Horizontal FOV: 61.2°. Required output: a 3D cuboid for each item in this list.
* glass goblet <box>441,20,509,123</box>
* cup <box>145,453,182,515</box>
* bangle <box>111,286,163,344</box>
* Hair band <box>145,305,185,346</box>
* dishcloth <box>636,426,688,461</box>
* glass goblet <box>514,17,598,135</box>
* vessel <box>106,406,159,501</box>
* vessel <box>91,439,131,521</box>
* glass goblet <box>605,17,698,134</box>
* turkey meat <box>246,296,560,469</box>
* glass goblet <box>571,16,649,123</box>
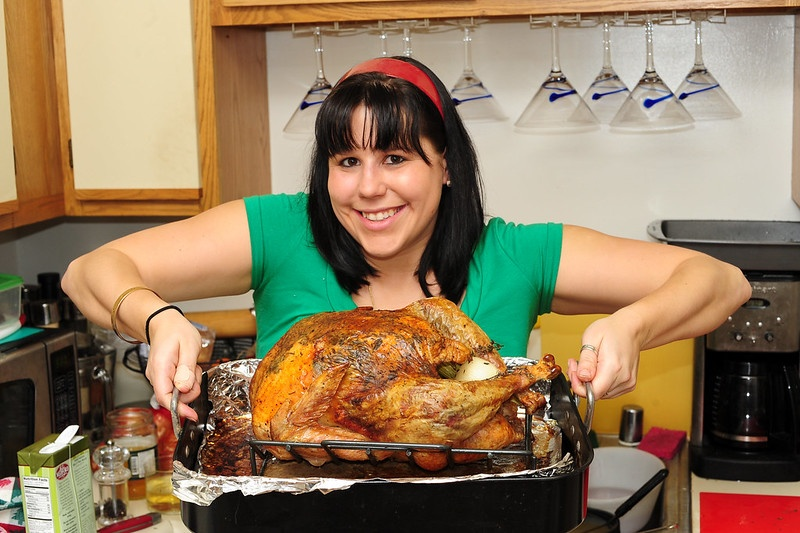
[{"bbox_3d":[0.247,-0.750,2.668,0.383,0.429,0.379,-3,19,0],"label":"glass goblet"},{"bbox_3d":[-0.731,0.691,2.116,0.130,0.141,0.123,5,-1,0],"label":"cup"},{"bbox_3d":[-0.646,0.130,1.632,0.039,0.148,0.148,21,9,41],"label":"bangle"},{"bbox_3d":[-0.529,0.133,1.518,0.083,0.085,0.100,-3,4,-22],"label":"Hair band"},{"bbox_3d":[0.945,0.634,2.433,0.116,0.036,0.118,4,22,39],"label":"dishcloth"},{"bbox_3d":[0.586,-0.726,2.539,0.347,0.410,0.340,-20,24,-41],"label":"glass goblet"},{"bbox_3d":[-0.911,0.653,2.270,0.191,0.327,0.194,-11,-9,40],"label":"vessel"},{"bbox_3d":[-0.885,0.632,2.087,0.105,0.242,0.282,-3,4,-25],"label":"vessel"},{"bbox_3d":[0.891,-0.717,2.615,0.401,0.450,0.394,-5,10,-1],"label":"glass goblet"},{"bbox_3d":[0.015,0.235,1.533,0.644,0.231,0.492,2,24,-3],"label":"turkey meat"},{"bbox_3d":[0.779,-0.754,2.541,0.232,0.387,0.233,10,51,27],"label":"glass goblet"}]
